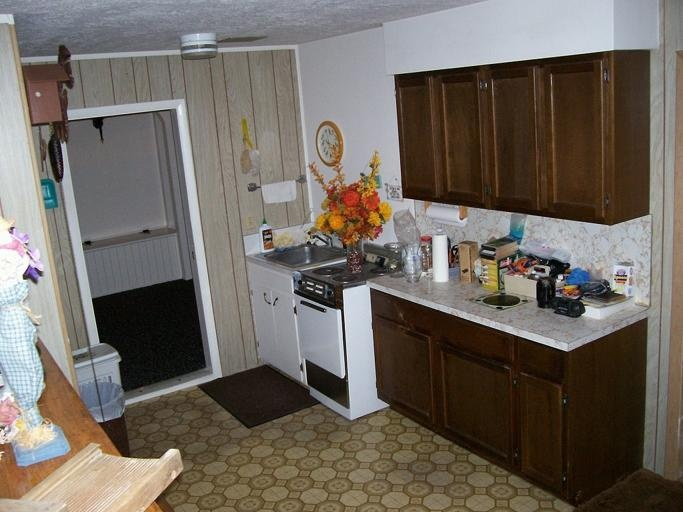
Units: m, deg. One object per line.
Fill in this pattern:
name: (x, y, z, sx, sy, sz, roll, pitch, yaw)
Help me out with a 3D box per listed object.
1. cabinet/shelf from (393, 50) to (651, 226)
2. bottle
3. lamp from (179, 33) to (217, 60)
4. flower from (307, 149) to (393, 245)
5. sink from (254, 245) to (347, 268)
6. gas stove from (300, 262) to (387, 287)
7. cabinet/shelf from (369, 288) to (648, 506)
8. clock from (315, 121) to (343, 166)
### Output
cabinet/shelf: (1.114, -0.775, 3.391, 1.549, 1.005, 0.371, 8, 21, 43)
bottle: (0.608, 0.005, 4.084, 0.408, 0.374, 0.160, 6, 11, 31)
lamp: (-1.059, -1.548, 3.816, 0.216, 0.149, 0.291, -18, 19, -37)
flower: (0.114, -0.482, 4.633, 0.626, 0.835, 0.963, -5, 15, 5)
sink: (-0.483, -0.006, 5.104, 0.463, 0.178, 0.396, -13, 18, -43)
gas stove: (0.033, 0.148, 4.374, 0.594, 0.080, 0.595, -18, 19, -37)
cabinet/shelf: (1.019, 0.362, 3.426, 1.072, 1.263, 2.196, -5, 9, -35)
clock: (-0.118, -1.117, 5.068, 0.036, 0.393, 0.387, -11, 24, -30)
